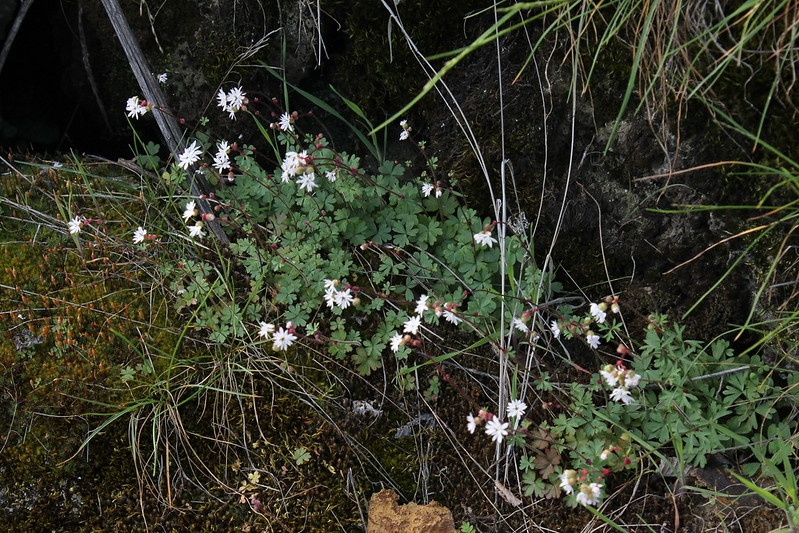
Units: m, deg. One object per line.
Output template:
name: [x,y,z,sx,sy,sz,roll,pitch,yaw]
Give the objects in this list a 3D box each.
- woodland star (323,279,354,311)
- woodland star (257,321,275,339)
woodland star: [-0.388,0.173,4.121,0.169,0.072,0.205,-37,87,-2]
woodland star: [-0.824,0.381,4.068,0.115,0.139,0.050,-4,2,24]
